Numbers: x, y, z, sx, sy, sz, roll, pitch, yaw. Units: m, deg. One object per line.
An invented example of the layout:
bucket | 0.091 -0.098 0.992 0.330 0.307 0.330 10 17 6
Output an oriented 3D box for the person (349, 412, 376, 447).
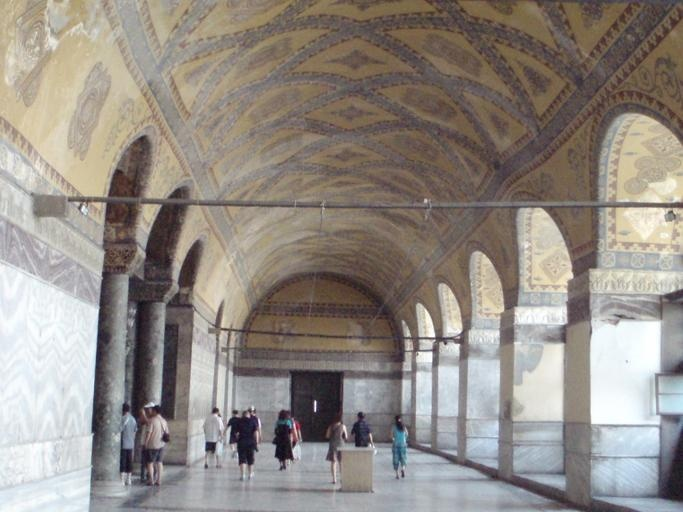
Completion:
person | 0.468 4.235 15.745 0.489 1.370 0.391 -2 12 -3

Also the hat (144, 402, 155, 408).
hat | -4.209 3.235 14.884 0.195 0.102 0.297 -2 -12 7

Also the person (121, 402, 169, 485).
person | -4.043 3.908 14.168 0.743 1.670 1.163 2 -6 -18
